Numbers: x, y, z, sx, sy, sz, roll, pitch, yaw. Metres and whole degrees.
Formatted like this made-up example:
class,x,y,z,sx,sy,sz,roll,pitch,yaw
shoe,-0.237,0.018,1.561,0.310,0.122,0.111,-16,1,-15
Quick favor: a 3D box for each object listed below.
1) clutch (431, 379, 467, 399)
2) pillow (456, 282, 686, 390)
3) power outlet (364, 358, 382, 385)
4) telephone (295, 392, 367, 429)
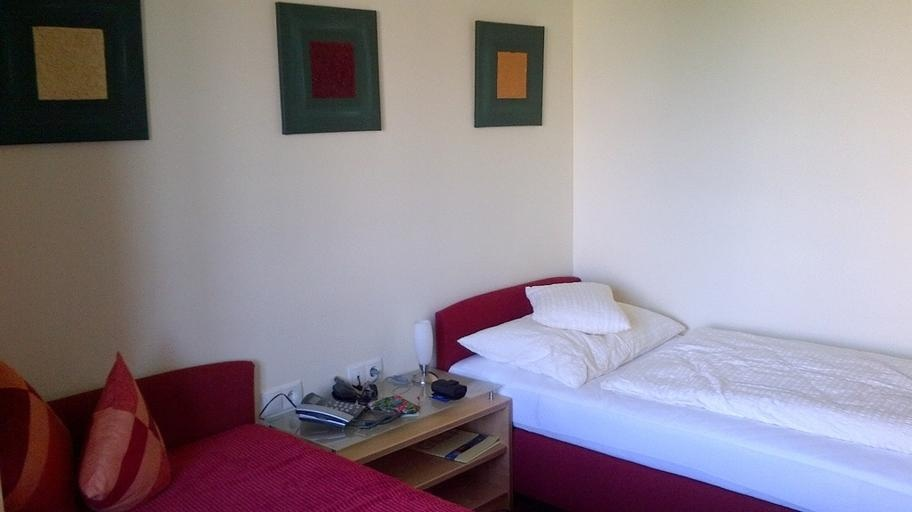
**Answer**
class,x,y,z,sx,sy,sz,roll,pitch,yaw
clutch,-0.053,0.789,3.451,0.151,0.048,0.116,6,14,36
pillow,0.891,0.536,3.776,0.911,0.189,0.700,-10,11,-42
power outlet,-0.525,0.724,3.610,0.020,0.173,0.172,6,6,43
telephone,-0.697,0.844,3.163,0.264,0.072,0.186,4,12,15
